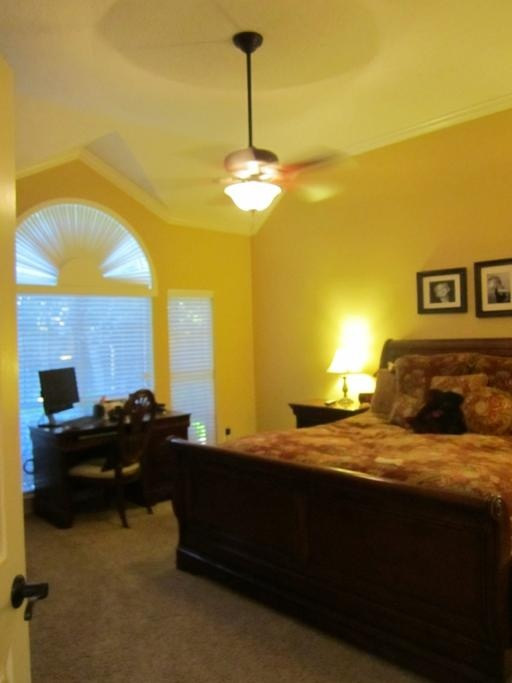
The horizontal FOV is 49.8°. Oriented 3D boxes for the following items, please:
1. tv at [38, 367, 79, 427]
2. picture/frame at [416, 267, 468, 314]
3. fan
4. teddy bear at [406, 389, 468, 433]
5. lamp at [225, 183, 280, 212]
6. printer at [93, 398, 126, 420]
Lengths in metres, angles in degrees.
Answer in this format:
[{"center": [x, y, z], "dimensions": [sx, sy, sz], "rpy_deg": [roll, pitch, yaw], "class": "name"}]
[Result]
[{"center": [-1.623, 0.448, 4.504], "dimensions": [0.144, 0.431, 0.439], "rpy_deg": [-5, 3, 23], "class": "tv"}, {"center": [1.597, -0.434, 4.689], "dimensions": [0.430, 0.395, 0.033], "rpy_deg": [1, -2, 44], "class": "picture/frame"}, {"center": [0.171, -1.578, 4.544], "dimensions": [0.999, 1.011, 0.859], "rpy_deg": [-2, -2, -28], "class": "fan"}, {"center": [1.211, 0.484, 3.629], "dimensions": [0.102, 0.286, 0.289], "rpy_deg": [31, -22, -33], "class": "teddy bear"}, {"center": [-0.033, -1.136, 4.278], "dimensions": [0.373, 0.205, 0.354], "rpy_deg": [-3, 1, -39], "class": "lamp"}, {"center": [-1.248, 0.588, 4.780], "dimensions": [0.217, 0.206, 0.308], "rpy_deg": [-1, -2, 40], "class": "printer"}]
